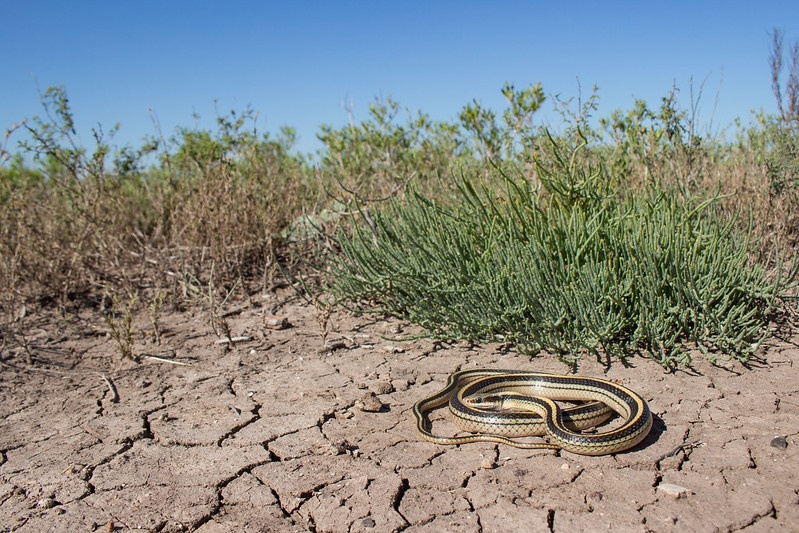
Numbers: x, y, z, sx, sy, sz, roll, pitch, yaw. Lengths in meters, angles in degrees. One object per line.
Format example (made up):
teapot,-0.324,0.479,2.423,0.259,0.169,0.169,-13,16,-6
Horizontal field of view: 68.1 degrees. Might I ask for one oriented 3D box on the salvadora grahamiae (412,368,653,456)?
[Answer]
salvadora grahamiae,1.261,1.368,5.665,2.045,0.460,1.035,-6,12,14
